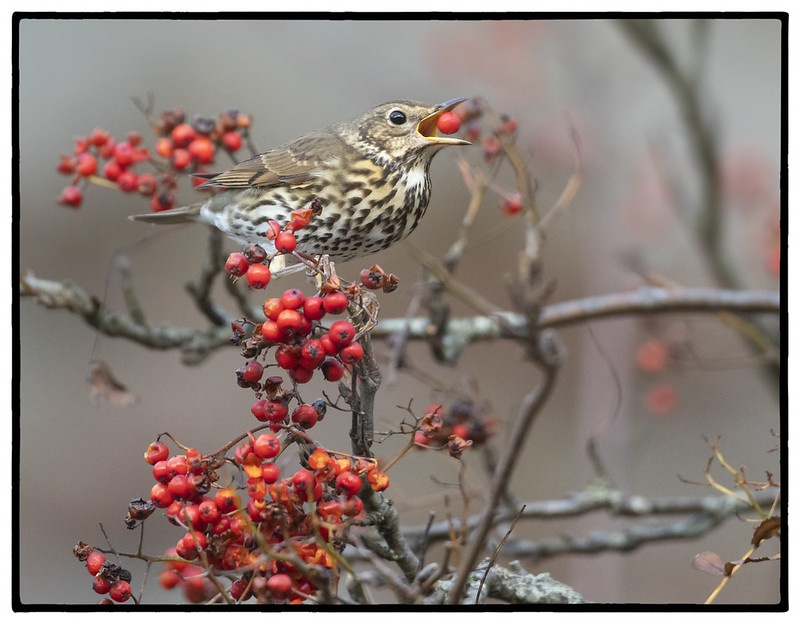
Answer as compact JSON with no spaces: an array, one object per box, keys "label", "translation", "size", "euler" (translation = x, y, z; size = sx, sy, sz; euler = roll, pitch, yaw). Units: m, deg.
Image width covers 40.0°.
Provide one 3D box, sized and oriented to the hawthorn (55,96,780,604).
[{"label":"hawthorn","translation":[0.013,0.313,3.970],"size":[1.837,2.184,0.785],"euler":[-7,-23,18]}]
